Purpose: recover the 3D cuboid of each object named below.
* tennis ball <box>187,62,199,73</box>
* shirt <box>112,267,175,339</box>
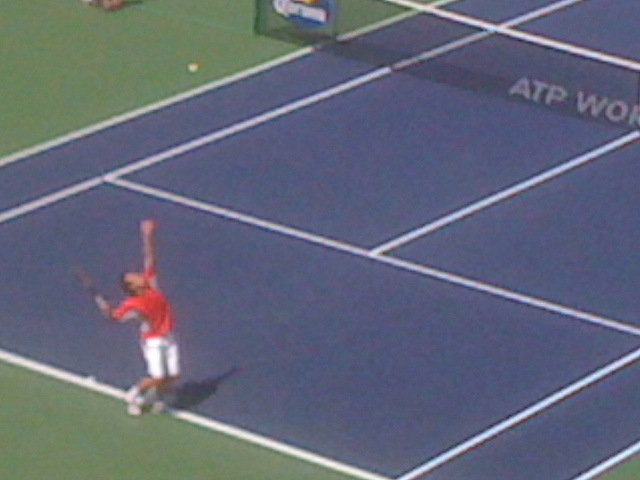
[{"bbox_3d":[-2.045,-2.766,20.037,0.181,0.088,0.132,-6,47,-6],"label":"tennis ball"},{"bbox_3d":[-2.714,0.994,19.027,0.768,0.598,1.155,9,50,-43],"label":"shirt"}]
